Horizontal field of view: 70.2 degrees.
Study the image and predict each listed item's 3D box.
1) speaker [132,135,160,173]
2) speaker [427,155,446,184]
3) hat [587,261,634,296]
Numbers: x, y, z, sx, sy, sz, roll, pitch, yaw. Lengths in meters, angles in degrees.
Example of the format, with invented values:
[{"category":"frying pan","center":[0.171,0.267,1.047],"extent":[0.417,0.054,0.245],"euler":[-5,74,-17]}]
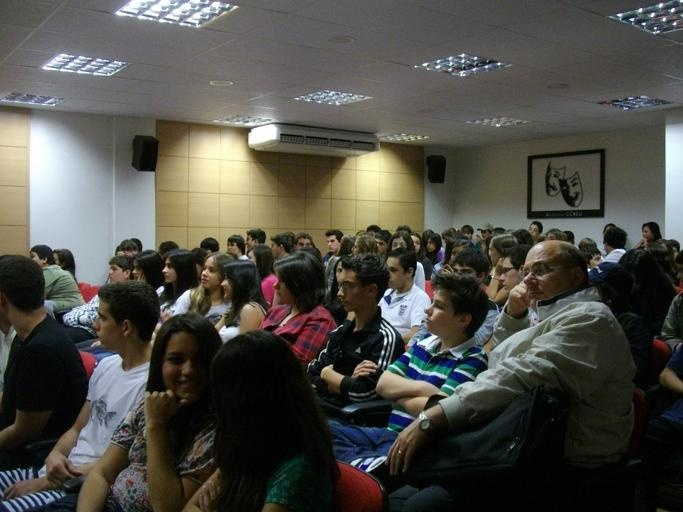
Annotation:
[{"category":"speaker","center":[-3.605,-1.909,8.927],"extent":[0.341,0.655,0.516],"euler":[-2,3,-40]},{"category":"speaker","center":[2.438,-2.202,12.312],"extent":[0.607,0.671,0.416],"euler":[-2,3,-31]},{"category":"hat","center":[1.532,0.082,2.772],"extent":[0.221,0.212,0.375],"euler":[1,3,20]}]
